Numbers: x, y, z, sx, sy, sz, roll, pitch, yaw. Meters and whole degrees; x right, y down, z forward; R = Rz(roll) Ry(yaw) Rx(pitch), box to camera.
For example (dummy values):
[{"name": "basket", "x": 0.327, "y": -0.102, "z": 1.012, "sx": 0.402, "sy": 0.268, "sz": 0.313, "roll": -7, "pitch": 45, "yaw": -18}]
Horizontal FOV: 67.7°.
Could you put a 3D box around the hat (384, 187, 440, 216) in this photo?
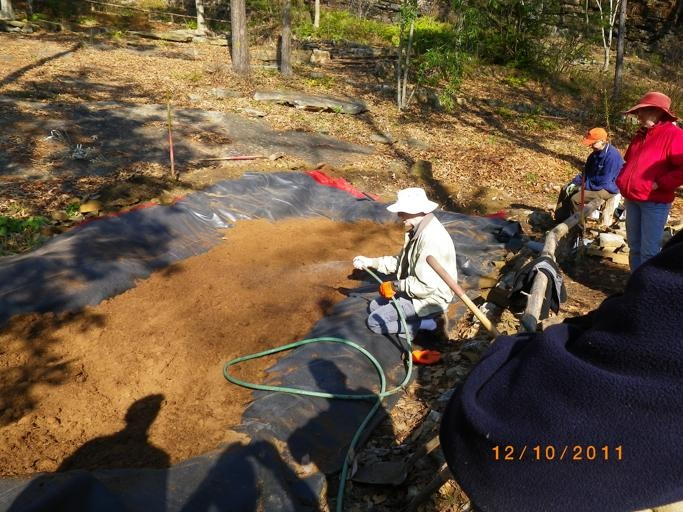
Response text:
[{"name": "hat", "x": 0.684, "y": -0.534, "z": 5.062, "sx": 0.433, "sy": 0.128, "sz": 0.367, "roll": 11, "pitch": 25, "yaw": 31}]

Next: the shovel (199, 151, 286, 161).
[{"name": "shovel", "x": -1.816, "y": -1.799, "z": 9.380, "sx": 1.411, "sy": 0.139, "sz": 0.420, "roll": -4, "pitch": 4, "yaw": -28}]

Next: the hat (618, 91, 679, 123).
[{"name": "hat", "x": 3.581, "y": -1.709, "z": 5.744, "sx": 0.483, "sy": 0.272, "sz": 0.901, "roll": 16, "pitch": 27, "yaw": 26}]

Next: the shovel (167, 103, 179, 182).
[{"name": "shovel", "x": -2.890, "y": -2.006, "z": 8.645, "sx": 0.113, "sy": 1.148, "sz": 0.104, "roll": -6, "pitch": -1, "yaw": 43}]

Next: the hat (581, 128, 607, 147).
[{"name": "hat", "x": 3.683, "y": -1.709, "z": 7.356, "sx": 0.274, "sy": 0.270, "sz": 0.305, "roll": 14, "pitch": 29, "yaw": 19}]

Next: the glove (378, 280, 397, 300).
[{"name": "glove", "x": 0.502, "y": 0.365, "z": 5.397, "sx": 0.219, "sy": 0.068, "sz": 0.203, "roll": -11, "pitch": 25, "yaw": 10}]
